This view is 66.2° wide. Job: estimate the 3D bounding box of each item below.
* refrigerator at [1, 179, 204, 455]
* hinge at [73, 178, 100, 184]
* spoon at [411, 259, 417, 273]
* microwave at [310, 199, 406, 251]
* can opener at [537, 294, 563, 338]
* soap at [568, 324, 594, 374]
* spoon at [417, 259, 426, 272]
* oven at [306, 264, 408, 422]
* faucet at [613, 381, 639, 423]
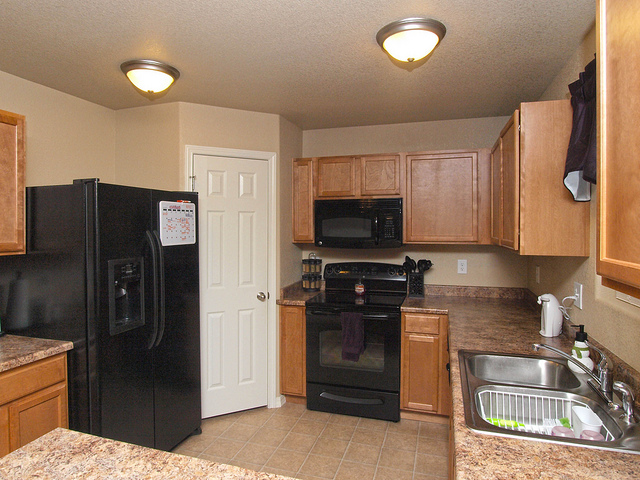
[{"bbox_3d":[-1.282,0.555,3.203,1.180,1.844,0.521,-4,4,-41],"label":"refrigerator"},{"bbox_3d":[-1.342,-0.341,2.867,0.100,0.023,0.093,-1,-1,44],"label":"hinge"},{"bbox_3d":[0.823,0.214,4.283,0.030,0.089,0.067,-3,8,8],"label":"spoon"},{"bbox_3d":[0.389,-0.186,4.382,0.812,0.478,0.480,2,23,25],"label":"microwave"},{"bbox_3d":[1.439,0.467,3.063,0.132,0.262,0.174,0,4,26],"label":"can opener"},{"bbox_3d":[1.379,0.575,2.605,0.135,0.239,0.134,1,2,35],"label":"soap"},{"bbox_3d":[0.884,0.225,4.239,0.065,0.095,0.075,-1,3,10],"label":"spoon"},{"bbox_3d":[0.305,0.818,4.124,0.768,1.166,0.670,-1,3,10],"label":"oven"},{"bbox_3d":[1.352,0.709,2.151,0.089,0.150,0.091,-1,3,5],"label":"faucet"}]
